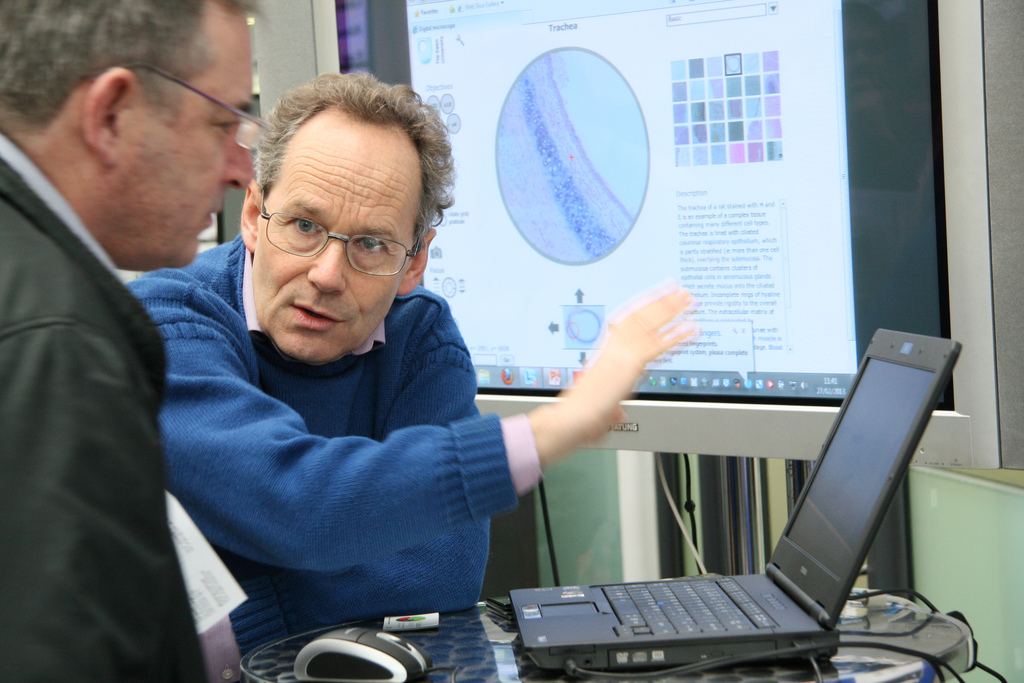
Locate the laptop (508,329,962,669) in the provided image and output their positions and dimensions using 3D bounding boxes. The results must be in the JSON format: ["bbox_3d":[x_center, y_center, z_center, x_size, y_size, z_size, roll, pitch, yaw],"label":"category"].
[{"bbox_3d":[0.270,0.197,1.315,0.465,0.356,0.417,3,-1,-9],"label":"laptop"}]

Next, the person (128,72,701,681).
[{"bbox_3d":[-0.098,0.034,1.750,0.577,1.198,0.930,3,-5,-44],"label":"person"}]
